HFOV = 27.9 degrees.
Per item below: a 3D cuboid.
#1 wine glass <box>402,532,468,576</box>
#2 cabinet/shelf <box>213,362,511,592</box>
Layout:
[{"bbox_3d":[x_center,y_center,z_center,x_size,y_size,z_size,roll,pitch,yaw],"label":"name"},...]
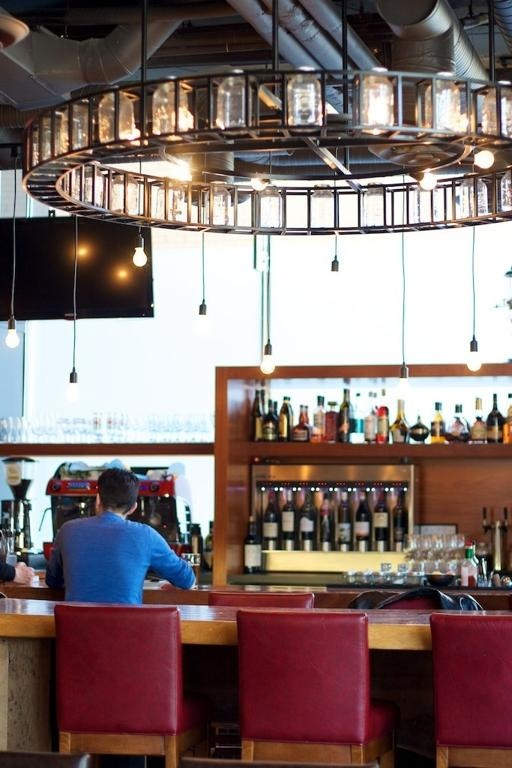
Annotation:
[{"bbox_3d":[0.955,0.894,5.428,0.199,0.164,0.210,2,-9,-5],"label":"wine glass"},{"bbox_3d":[0.584,0.506,5.876,1.665,1.239,1.271,0,-1,-3],"label":"cabinet/shelf"}]
